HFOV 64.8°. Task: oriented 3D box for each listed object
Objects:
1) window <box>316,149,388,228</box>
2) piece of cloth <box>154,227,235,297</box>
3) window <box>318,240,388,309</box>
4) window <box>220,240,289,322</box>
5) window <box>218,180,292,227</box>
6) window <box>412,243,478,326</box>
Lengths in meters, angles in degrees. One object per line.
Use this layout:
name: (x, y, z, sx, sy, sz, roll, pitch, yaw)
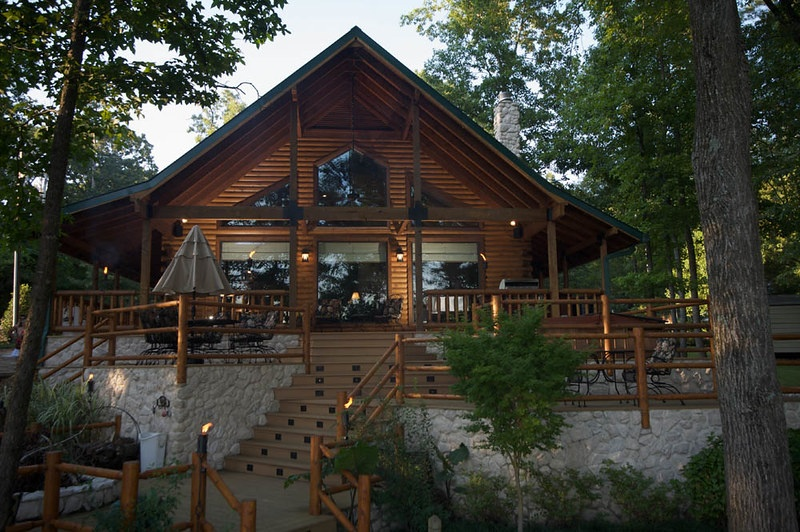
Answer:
window: (-1.707, -2.539, 21.043, 2.649, 2.996, 0.128, 0, -10, -7)
piece of cloth: (-5.041, -0.205, 15.321, 1.700, 1.672, 1.539, -1, -7, -7)
window: (-1.688, 0.361, 21.301, 2.158, 2.116, 0.216, 2, -12, -5)
window: (-4.627, 0.505, 19.819, 2.455, 2.881, 0.137, -1, -8, -8)
window: (-4.827, -2.140, 21.261, 2.324, 1.714, 0.094, -1, 1, 2)
window: (1.361, 0.654, 20.344, 2.518, 3.060, 0.128, 2, -7, -10)
